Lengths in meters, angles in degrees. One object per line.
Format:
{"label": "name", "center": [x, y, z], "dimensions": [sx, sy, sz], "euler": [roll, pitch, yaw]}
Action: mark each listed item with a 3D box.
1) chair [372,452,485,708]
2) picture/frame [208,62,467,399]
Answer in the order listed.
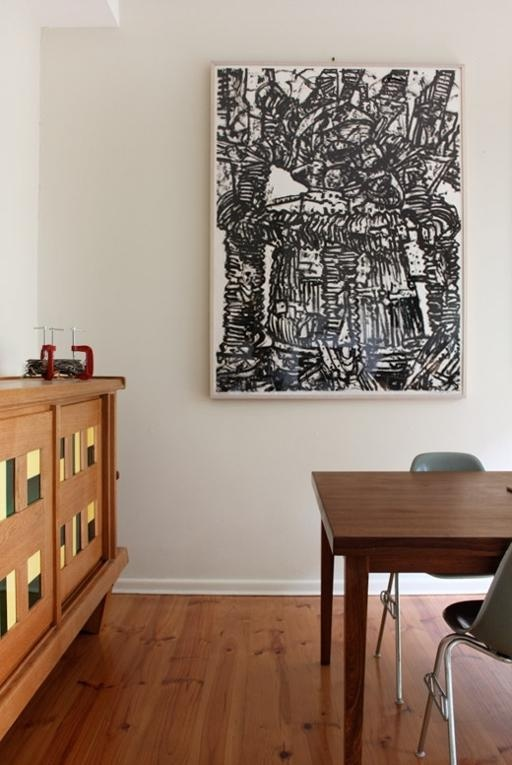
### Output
{"label": "chair", "center": [0.493, 0.628, 2.306], "dimensions": [0.546, 0.950, 0.652], "euler": [0, -15, 3]}
{"label": "picture/frame", "center": [0.332, -0.747, 2.725], "dimensions": [1.299, 1.921, 0.061], "euler": [0, -2, -5]}
